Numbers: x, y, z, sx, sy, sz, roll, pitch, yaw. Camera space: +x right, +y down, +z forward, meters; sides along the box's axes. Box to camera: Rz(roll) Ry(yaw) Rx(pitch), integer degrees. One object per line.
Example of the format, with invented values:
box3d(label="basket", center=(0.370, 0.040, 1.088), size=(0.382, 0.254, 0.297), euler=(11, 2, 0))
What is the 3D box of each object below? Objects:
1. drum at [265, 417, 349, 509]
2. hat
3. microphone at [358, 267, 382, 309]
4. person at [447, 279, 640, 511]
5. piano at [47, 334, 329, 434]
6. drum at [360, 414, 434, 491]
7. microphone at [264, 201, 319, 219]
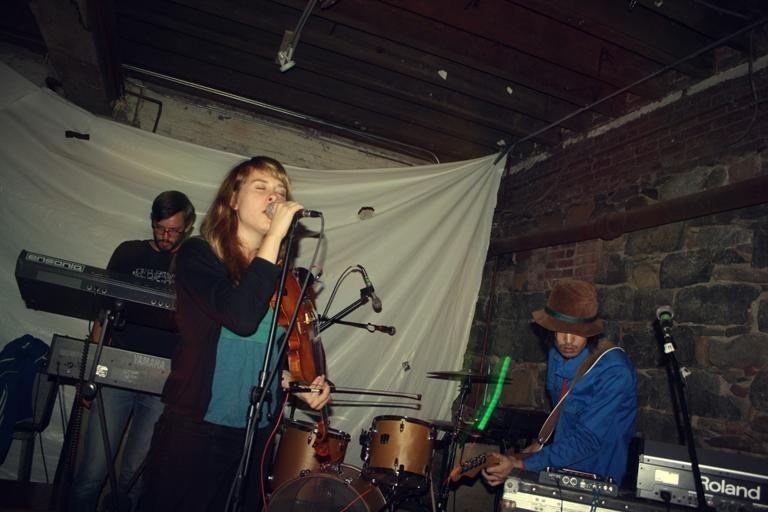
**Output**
box3d(label="drum", center=(-0.615, 1.633, 4.569), size=(0.644, 0.593, 0.630), euler=(21, -14, -9))
box3d(label="hat", center=(1.468, 0.429, 4.443), size=(0.462, 0.258, 0.479), euler=(15, -24, 1))
box3d(label="microphone", center=(-0.129, 0.318, 5.289), size=(0.172, 0.434, 0.122), euler=(-36, -18, 27))
box3d(label="person", center=(1.370, 1.210, 4.725), size=(1.568, 2.310, 1.061), euler=(14, -27, -5))
box3d(label="piano", center=(-1.751, 0.934, 4.186), size=(0.226, 0.338, 1.477), euler=(-22, -33, 37))
box3d(label="drum", center=(0.102, 1.749, 4.801), size=(0.633, 0.447, 0.619), euler=(7, -32, 4))
box3d(label="microphone", center=(-0.599, -0.281, 3.482), size=(0.405, 0.119, 0.123), euler=(-2, -16, 42))
